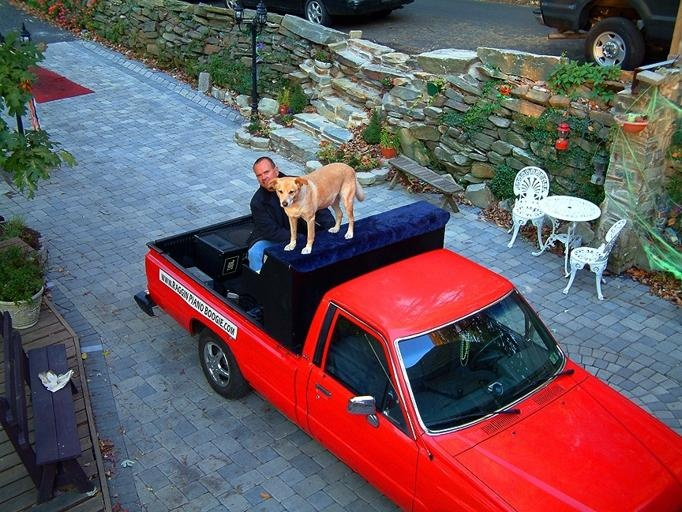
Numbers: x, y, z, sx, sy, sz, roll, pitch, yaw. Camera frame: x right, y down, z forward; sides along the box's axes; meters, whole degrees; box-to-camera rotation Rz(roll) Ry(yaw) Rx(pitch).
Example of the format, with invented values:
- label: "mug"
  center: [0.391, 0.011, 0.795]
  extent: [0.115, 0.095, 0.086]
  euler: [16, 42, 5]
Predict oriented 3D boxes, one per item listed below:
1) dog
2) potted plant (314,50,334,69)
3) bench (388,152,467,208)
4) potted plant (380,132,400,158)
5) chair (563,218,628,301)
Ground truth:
- label: "dog"
  center: [-0.220, -0.605, 5.814]
  extent: [0.406, 0.988, 1.404]
  euler: [25, 38, 36]
- label: "potted plant"
  center: [-0.521, -5.622, 14.470]
  extent: [0.457, 0.372, 0.666]
  euler: [-11, 35, -23]
- label: "bench"
  center: [1.808, -1.549, 11.094]
  extent: [0.636, 0.671, 1.808]
  euler: [-25, 42, -38]
- label: "potted plant"
  center: [1.154, -2.635, 12.220]
  extent: [0.579, 0.663, 0.543]
  euler: [6, 38, 16]
- label: "chair"
  center: [4.348, 0.089, 8.767]
  extent: [0.817, 1.162, 0.623]
  euler: [15, 53, 30]
